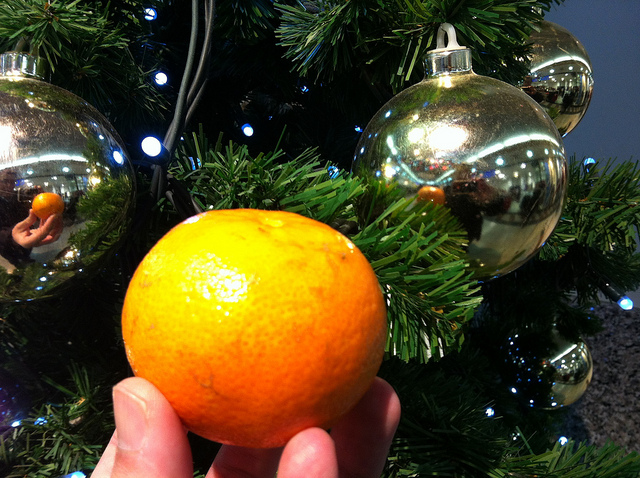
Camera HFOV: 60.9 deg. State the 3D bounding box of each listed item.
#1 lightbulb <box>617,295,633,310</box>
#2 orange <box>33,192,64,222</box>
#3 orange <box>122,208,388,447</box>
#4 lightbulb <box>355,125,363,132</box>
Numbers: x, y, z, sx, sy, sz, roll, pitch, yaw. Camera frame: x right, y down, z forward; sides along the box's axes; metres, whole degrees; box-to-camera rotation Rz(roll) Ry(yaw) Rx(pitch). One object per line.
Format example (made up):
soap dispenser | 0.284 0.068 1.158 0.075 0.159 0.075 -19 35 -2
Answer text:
lightbulb | 0.479 0.101 0.853 0.018 0.021 0.020 -4 76 -2
orange | -0.262 -0.034 0.522 0.029 0.030 0.029 -10 24 -27
orange | -0.044 0.040 0.513 0.193 0.200 0.185 8 11 28
lightbulb | 0.060 -0.169 0.840 0.011 0.012 0.006 -2 79 34
